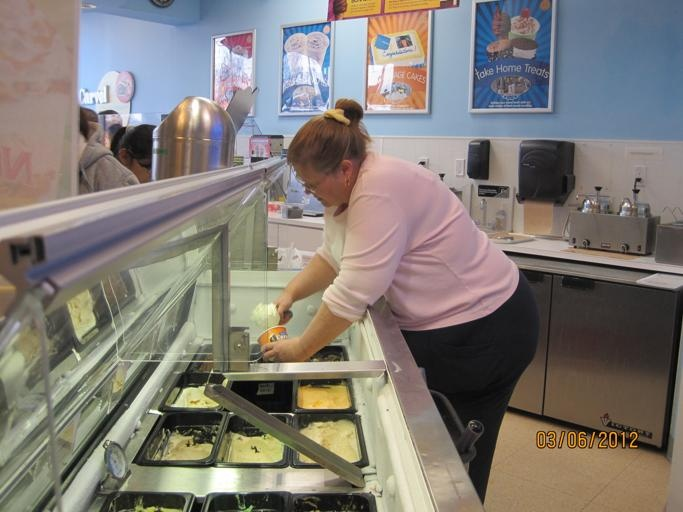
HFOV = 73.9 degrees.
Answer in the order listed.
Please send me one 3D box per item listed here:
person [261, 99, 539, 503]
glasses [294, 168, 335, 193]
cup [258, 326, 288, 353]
[{"bbox_3d":[0.208,0.301,1.616,0.909,1.545,0.600,-5,14,-4],"label":"person"},{"bbox_3d":[-0.086,-0.226,1.319,0.076,0.023,0.072,30,-3,-40],"label":"glasses"},{"bbox_3d":[-0.197,0.232,1.311,0.082,0.048,0.087,1,11,0],"label":"cup"}]
